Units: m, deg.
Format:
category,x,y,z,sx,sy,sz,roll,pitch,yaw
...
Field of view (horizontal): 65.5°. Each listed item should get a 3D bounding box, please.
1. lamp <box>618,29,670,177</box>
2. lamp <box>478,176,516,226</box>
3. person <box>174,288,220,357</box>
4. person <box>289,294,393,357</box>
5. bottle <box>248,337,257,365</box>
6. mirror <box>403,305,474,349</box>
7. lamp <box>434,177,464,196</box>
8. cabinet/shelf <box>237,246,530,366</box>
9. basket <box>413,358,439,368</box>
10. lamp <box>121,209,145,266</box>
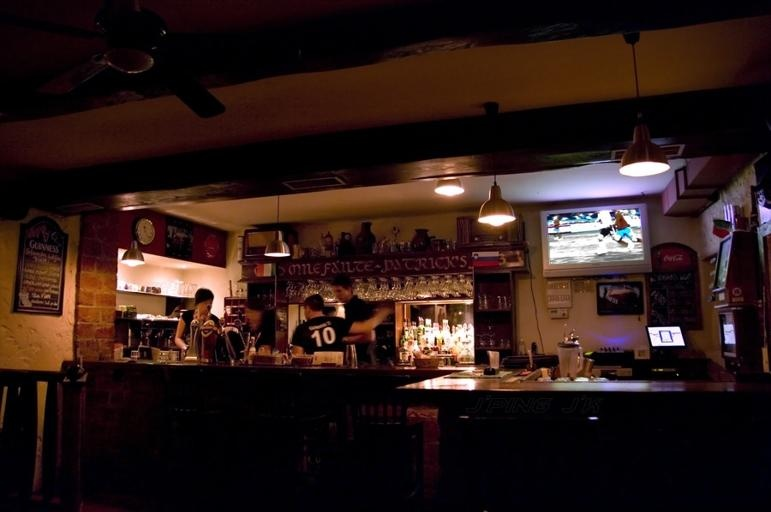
category,x,y,z,sx,sy,sz,roll,pitch,yaw
lamp,2.127,-1.327,5.031,0.330,1.074,0.332,-17,13,-24
lamp,1.170,-0.635,6.346,0.395,0.496,0.378,1,11,27
person,-2.542,0.876,8.080,0.495,0.862,2.063,4,-12,-19
person,-0.509,0.936,7.992,1.195,1.179,0.408,-1,9,10
bottle,-1.630,1.150,7.331,0.097,0.334,0.530,2,-11,-13
mirror,0.905,1.163,9.716,0.734,0.624,0.230,-1,-15,6
lamp,0.716,-0.851,7.017,0.287,0.185,0.429,-6,-12,26
cabinet/shelf,-0.005,0.801,10.020,4.707,1.562,0.690,-3,-3,14
basket,0.475,1.239,6.917,0.200,0.063,0.134,1,-17,6
lamp,-3.678,-0.125,8.784,0.296,0.494,0.297,-11,-24,13
